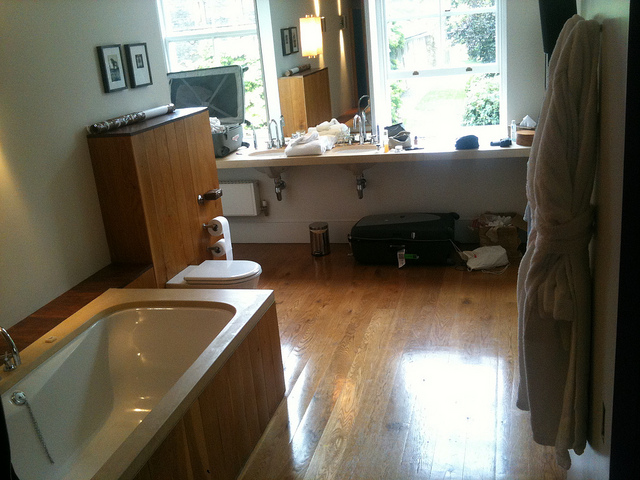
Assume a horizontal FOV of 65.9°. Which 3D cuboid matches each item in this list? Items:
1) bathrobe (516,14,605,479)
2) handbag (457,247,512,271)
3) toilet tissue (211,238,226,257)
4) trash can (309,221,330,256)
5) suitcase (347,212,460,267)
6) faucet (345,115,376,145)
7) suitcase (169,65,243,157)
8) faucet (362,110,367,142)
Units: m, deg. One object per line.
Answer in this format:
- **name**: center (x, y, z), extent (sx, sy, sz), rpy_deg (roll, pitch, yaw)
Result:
- **bathrobe**: center (0.848, 0.058, 1.774), extent (0.256, 1.590, 0.407), rpy_deg (1, 20, 22)
- **handbag**: center (1.415, 0.155, 4.262), extent (0.426, 0.129, 0.239), rpy_deg (-2, 20, 14)
- **toilet tissue**: center (-0.769, 0.067, 3.814), extent (0.102, 0.121, 0.132), rpy_deg (5, 12, 12)
- **trash can**: center (-0.008, -0.010, 4.793), extent (0.206, 0.303, 0.218), rpy_deg (8, 28, 22)
- **suitcase**: center (0.742, -0.004, 4.418), extent (0.593, 0.276, 0.598), rpy_deg (1, 15, 10)
- **faucet**: center (0.383, -1.070, 4.810), extent (0.270, 0.267, 0.132), rpy_deg (-4, 22, 0)
- **suitcase**: center (-1.087, -1.272, 4.898), extent (0.744, 0.822, 0.489), rpy_deg (-8, 19, -3)
- **faucet**: center (0.416, -1.088, 4.761), extent (0.030, 0.276, 0.085), rpy_deg (-4, 19, 7)
